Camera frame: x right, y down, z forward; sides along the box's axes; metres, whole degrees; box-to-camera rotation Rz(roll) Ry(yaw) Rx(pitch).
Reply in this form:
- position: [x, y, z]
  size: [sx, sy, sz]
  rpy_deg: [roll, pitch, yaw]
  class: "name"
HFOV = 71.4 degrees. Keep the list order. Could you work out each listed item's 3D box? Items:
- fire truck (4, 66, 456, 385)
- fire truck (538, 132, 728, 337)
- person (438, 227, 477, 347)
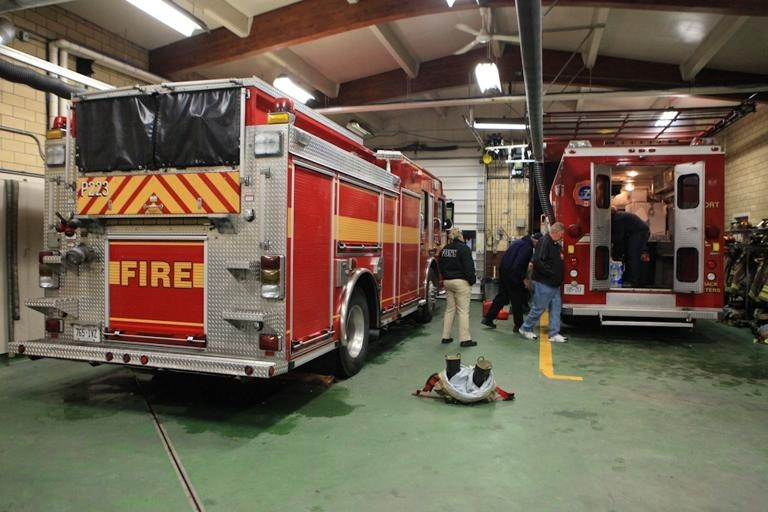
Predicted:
- position: [-1.465, -0.354, 10.068]
  size: [3.837, 2.896, 7.115]
  rpy_deg: [1, 0, 24]
  class: "fire truck"
- position: [6.607, -0.464, 14.192]
  size: [3.795, 3.872, 7.522]
  rpy_deg: [1, 3, 26]
  class: "fire truck"
- position: [1.469, 0.644, 10.660]
  size: [0.750, 2.056, 1.055]
  rpy_deg: [0, 0, 12]
  class: "person"
